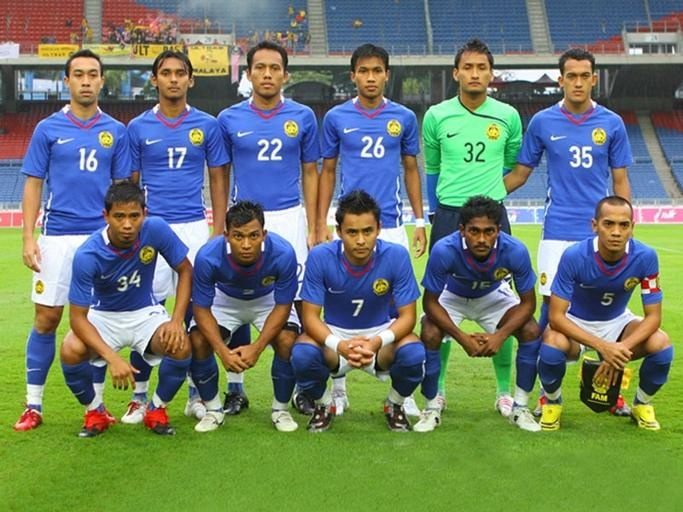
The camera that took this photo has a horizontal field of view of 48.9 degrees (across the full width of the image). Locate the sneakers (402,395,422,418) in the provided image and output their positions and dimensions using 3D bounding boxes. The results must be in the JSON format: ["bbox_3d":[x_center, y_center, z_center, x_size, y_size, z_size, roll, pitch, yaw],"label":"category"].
[{"bbox_3d":[0.519,1.116,5.574,0.140,0.049,0.173,14,25,1],"label":"sneakers"}]

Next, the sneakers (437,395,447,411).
[{"bbox_3d":[0.729,1.086,5.510,0.101,0.111,0.266,-2,-12,6],"label":"sneakers"}]

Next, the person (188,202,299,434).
[{"bbox_3d":[-0.679,0.398,5.209,0.765,1.565,0.567,-1,10,-5],"label":"person"}]

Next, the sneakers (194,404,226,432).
[{"bbox_3d":[-0.923,1.132,5.144,0.105,0.083,0.199,0,-5,16],"label":"sneakers"}]

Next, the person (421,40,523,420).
[{"bbox_3d":[1.000,-0.200,5.878,0.838,2.855,0.579,0,-5,2],"label":"person"}]

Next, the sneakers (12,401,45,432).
[{"bbox_3d":[-2.155,1.106,5.162,0.183,0.117,0.274,-4,9,-23],"label":"sneakers"}]

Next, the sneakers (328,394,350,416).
[{"bbox_3d":[-0.026,1.099,5.487,0.141,0.154,0.404,-1,-11,4],"label":"sneakers"}]

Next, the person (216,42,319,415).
[{"bbox_3d":[-0.538,-0.140,5.864,0.967,2.913,0.683,-2,3,-24],"label":"person"}]

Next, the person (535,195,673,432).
[{"bbox_3d":[1.829,0.371,5.209,0.872,1.579,0.526,2,10,13],"label":"person"}]

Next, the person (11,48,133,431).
[{"bbox_3d":[-1.906,-0.073,5.465,0.891,2.757,0.839,2,1,-24],"label":"person"}]

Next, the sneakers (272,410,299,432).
[{"bbox_3d":[-0.378,1.143,5.169,0.096,0.076,0.199,-3,0,-27],"label":"sneakers"}]

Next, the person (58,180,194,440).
[{"bbox_3d":[-1.453,0.339,5.083,0.876,1.674,0.601,-2,10,-12],"label":"person"}]

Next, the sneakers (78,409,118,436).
[{"bbox_3d":[-1.660,1.111,5.098,0.141,0.149,0.358,1,9,6],"label":"sneakers"}]

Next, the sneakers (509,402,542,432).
[{"bbox_3d":[1.266,1.116,5.186,0.097,0.097,0.255,-5,4,-26],"label":"sneakers"}]

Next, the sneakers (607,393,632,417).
[{"bbox_3d":[2.033,1.105,5.505,0.140,0.110,0.237,-1,-6,5],"label":"sneakers"}]

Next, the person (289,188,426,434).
[{"bbox_3d":[0.118,0.370,5.165,0.922,1.640,0.501,0,10,4],"label":"person"}]

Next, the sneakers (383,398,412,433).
[{"bbox_3d":[0.384,1.107,5.227,0.147,0.133,0.379,3,13,-14],"label":"sneakers"}]

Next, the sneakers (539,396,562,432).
[{"bbox_3d":[1.451,1.106,5.214,0.138,0.127,0.365,1,9,22],"label":"sneakers"}]
